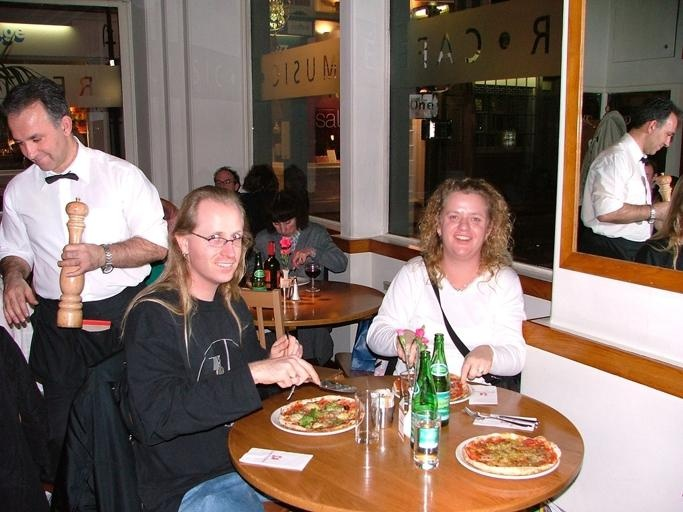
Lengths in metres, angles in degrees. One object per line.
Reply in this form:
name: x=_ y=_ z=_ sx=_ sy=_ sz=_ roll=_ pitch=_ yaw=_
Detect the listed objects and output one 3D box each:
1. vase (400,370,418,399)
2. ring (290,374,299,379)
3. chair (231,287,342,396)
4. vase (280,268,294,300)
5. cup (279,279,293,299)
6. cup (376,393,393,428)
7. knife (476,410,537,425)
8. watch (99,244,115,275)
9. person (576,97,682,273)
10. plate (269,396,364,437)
vase: x=0.255 y=0.480 z=1.982 sx=0.087 sy=0.092 sz=0.072 roll=-3 pitch=6 yaw=-8
ring: x=-0.169 y=0.425 z=1.863 sx=0.017 sy=0.017 sz=0.005 roll=-34 pitch=17 yaw=22
chair: x=-0.358 y=0.439 z=2.879 sx=0.450 sy=0.750 sz=0.414 roll=-17 pitch=21 yaw=-41
vase: x=-0.394 y=0.206 z=3.727 sx=0.065 sy=0.169 sz=0.199 roll=12 pitch=19 yaw=-7
cup: x=-0.375 y=0.247 z=3.716 sx=0.081 sy=0.140 sz=0.137 roll=-3 pitch=-32 yaw=1
cup: x=0.157 y=0.559 z=1.915 sx=0.091 sy=0.111 sz=0.102 roll=0 pitch=-2 yaw=-2
knife: x=0.623 y=0.600 z=1.953 sx=0.271 sy=0.031 sz=0.074 roll=1 pitch=10 yaw=7
watch: x=-1.062 y=0.017 z=2.392 sx=0.061 sy=0.110 sz=0.107 roll=-6 pitch=48 yaw=-18
person: x=1.129 y=-0.347 z=2.264 sx=0.448 sy=0.915 sz=0.484 roll=2 pitch=23 yaw=26
plate: x=-0.090 y=0.599 z=1.975 sx=0.186 sy=0.034 sz=0.183 roll=-5 pitch=10 yaw=-14
